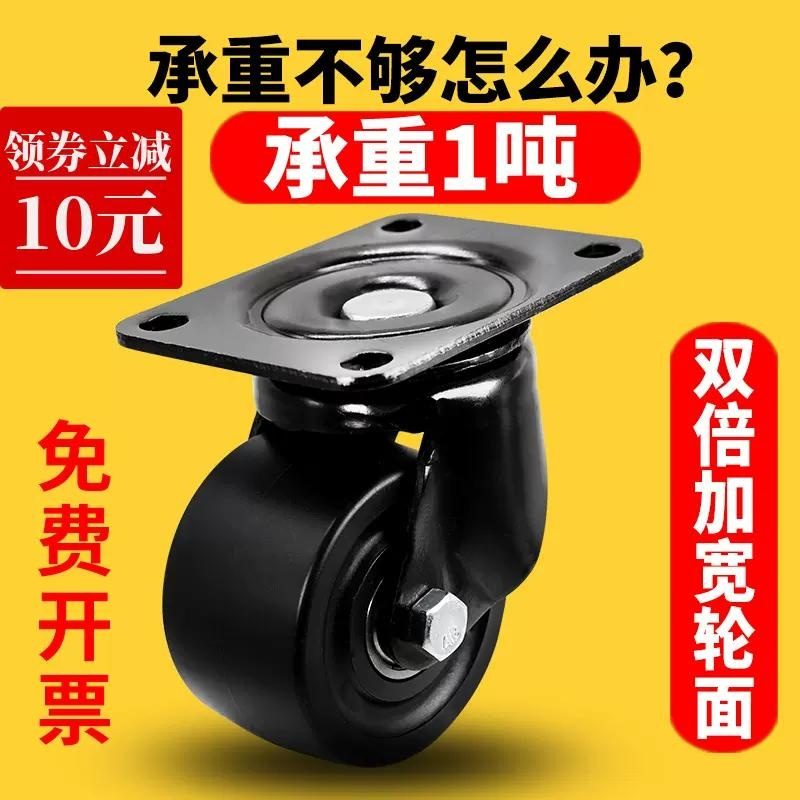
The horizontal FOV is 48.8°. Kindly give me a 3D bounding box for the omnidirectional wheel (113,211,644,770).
[{"bbox_3d":[-0.029,0.131,1.388,0.577,0.960,0.733,3,4,38],"label":"omnidirectional wheel"}]
